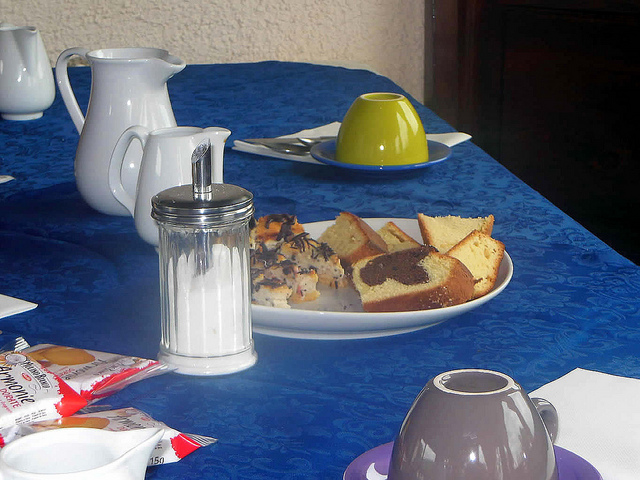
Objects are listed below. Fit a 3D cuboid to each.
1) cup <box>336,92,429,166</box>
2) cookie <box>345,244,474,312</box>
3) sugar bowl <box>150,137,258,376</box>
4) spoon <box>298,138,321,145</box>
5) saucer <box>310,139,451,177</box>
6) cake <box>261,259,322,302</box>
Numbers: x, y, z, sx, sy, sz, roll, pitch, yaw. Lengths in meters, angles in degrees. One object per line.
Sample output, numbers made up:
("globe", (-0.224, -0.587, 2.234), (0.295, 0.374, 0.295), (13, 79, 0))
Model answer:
("cup", (0.111, -0.193, 1.001), (0.179, 0.112, 0.171), (0, 19, 0))
("cookie", (0.088, 0.036, 0.524), (0.111, 0.036, 0.072), (-2, 32, -4))
("sugar bowl", (-0.100, 0.014, 0.492), (0.091, 0.189, 0.091), (0, 8, 0))
("spoon", (-0.023, -0.190, 1.093), (0.024, 0.008, 0.015), (13, -4, -20))
("saucer", (0.093, -0.165, 1.000), (0.228, 0.075, 0.218), (0, 15, 0))
("cake", (-0.023, 0.039, 0.531), (0.044, 0.015, 0.043), (-7, 32, -13))
